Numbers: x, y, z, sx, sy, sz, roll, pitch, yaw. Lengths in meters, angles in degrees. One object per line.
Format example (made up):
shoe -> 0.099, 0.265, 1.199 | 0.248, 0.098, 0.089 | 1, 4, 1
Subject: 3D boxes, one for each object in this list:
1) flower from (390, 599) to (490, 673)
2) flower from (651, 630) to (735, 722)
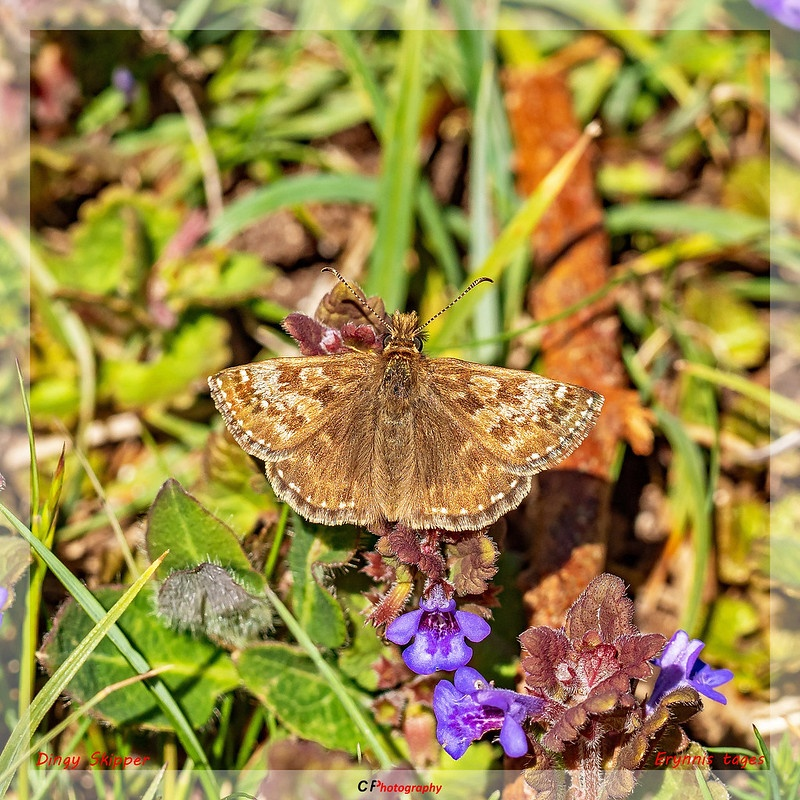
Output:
flower -> 0.107, 0.657, 2.470 | 0.293, 0.117, 0.196 | -3, 78, 3
flower -> 0.773, 0.735, 2.420 | 0.126, 0.235, 0.218 | -13, 42, -3
